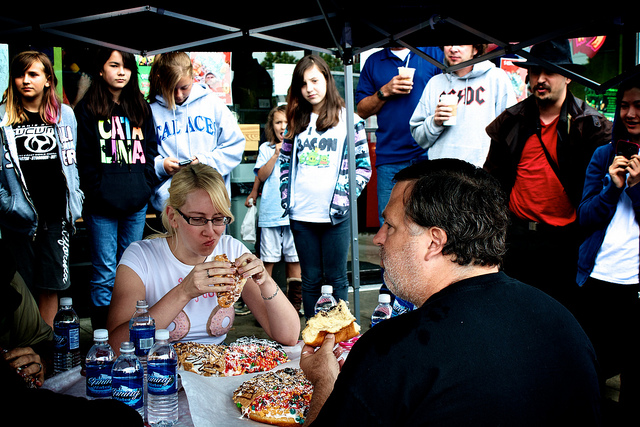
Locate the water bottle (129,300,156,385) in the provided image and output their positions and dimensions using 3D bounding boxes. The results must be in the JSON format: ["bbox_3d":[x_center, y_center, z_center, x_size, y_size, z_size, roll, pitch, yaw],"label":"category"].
[{"bbox_3d":[-1.064,0.768,3.190,0.187,0.520,0.189,3,4,0],"label":"water bottle"}]

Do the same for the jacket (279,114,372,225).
[{"bbox_3d":[0.049,-0.464,5.617,0.974,1.139,0.465,-3,4,1],"label":"jacket"}]

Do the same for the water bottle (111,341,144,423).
[{"bbox_3d":[-0.988,0.847,2.714,0.160,0.366,0.245,-5,4,-22],"label":"water bottle"}]

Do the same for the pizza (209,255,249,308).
[{"bbox_3d":[-0.606,0.456,3.570,0.275,0.328,0.114,7,3,28],"label":"pizza"}]

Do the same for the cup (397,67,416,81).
[{"bbox_3d":[0.952,-1.536,5.802,0.179,0.119,0.168,1,2,0],"label":"cup"}]

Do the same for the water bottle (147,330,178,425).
[{"bbox_3d":[-0.793,0.844,2.736,0.157,0.461,0.144,-1,9,0],"label":"water bottle"}]

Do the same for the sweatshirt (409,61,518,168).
[{"bbox_3d":[1.548,-1.060,5.675,1.178,1.067,0.592,0,10,8],"label":"sweatshirt"}]

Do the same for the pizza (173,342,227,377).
[{"bbox_3d":[-0.718,0.858,3.157,0.241,0.073,0.208,5,5,32],"label":"pizza"}]

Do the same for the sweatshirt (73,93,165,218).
[{"bbox_3d":[-2.146,-0.581,5.629,0.800,1.222,0.233,-5,4,-25],"label":"sweatshirt"}]

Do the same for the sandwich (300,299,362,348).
[{"bbox_3d":[0.069,0.709,3.243,0.284,0.100,0.209,-18,23,-13],"label":"sandwich"}]

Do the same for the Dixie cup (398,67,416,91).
[{"bbox_3d":[0.944,-1.499,5.794,0.165,0.154,0.143,0,-1,-11],"label":"Dixie cup"}]
